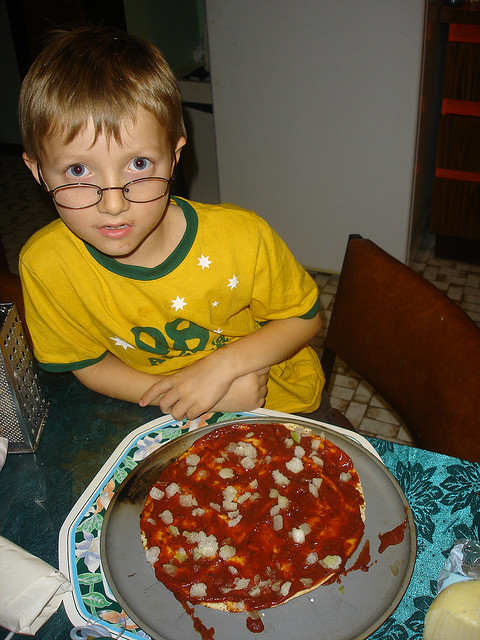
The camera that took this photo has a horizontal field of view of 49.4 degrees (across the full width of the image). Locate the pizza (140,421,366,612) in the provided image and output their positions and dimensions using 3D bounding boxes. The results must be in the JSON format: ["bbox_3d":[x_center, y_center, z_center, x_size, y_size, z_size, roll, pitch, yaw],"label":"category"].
[{"bbox_3d":[0.018,0.229,0.653,0.281,0.050,0.261,-11,40,-6],"label":"pizza"}]
